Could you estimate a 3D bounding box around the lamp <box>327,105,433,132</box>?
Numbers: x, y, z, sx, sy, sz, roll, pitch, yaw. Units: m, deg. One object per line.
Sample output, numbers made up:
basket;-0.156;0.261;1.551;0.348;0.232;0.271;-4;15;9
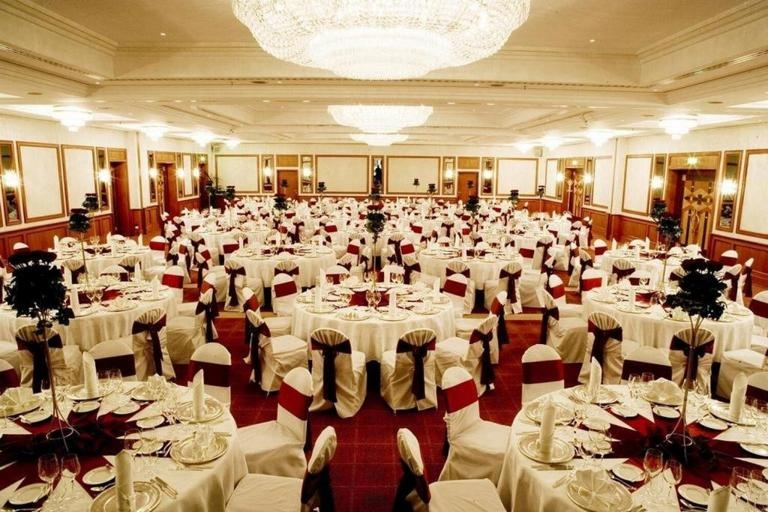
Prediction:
lamp;0.032;-2.697;10.035;0.977;0.244;1.003;5;9;30
